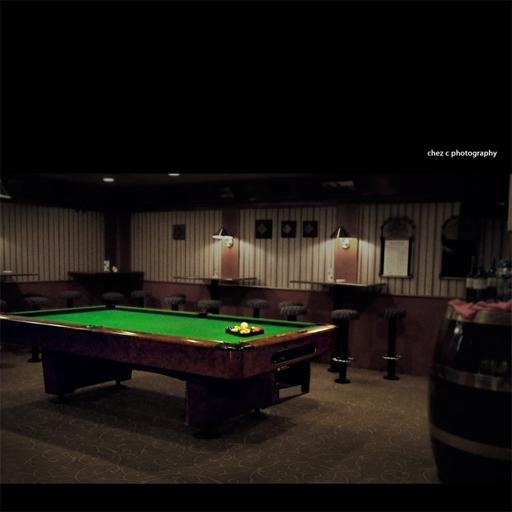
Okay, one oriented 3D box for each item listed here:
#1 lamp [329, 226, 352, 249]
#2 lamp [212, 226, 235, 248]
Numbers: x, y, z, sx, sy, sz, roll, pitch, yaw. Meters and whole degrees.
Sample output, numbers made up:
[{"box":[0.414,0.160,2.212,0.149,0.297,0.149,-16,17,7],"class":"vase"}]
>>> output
[{"box":[1.156,-0.238,6.231,0.261,0.360,0.284,3,0,-14],"class":"lamp"},{"box":[-0.552,-0.294,7.399,0.286,0.260,0.333,1,-3,22],"class":"lamp"}]
